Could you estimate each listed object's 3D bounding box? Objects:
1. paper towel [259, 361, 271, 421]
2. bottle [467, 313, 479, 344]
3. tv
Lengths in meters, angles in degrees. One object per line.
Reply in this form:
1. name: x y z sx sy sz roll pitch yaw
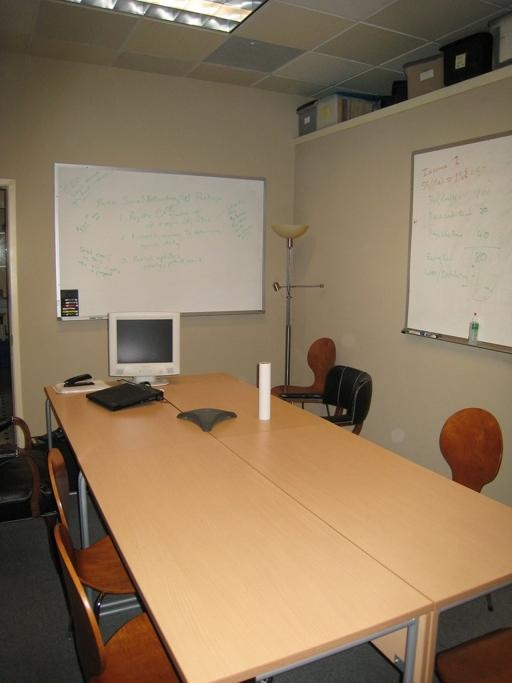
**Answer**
1. paper towel: 0.039 0.248 2.516 0.065 0.280 0.064 -2 4 -36
2. bottle: 1.316 -0.073 3.106 0.022 0.191 0.081 -2 8 -24
3. tv: -0.693 0.039 3.152 0.429 0.469 0.167 -1 3 -15
